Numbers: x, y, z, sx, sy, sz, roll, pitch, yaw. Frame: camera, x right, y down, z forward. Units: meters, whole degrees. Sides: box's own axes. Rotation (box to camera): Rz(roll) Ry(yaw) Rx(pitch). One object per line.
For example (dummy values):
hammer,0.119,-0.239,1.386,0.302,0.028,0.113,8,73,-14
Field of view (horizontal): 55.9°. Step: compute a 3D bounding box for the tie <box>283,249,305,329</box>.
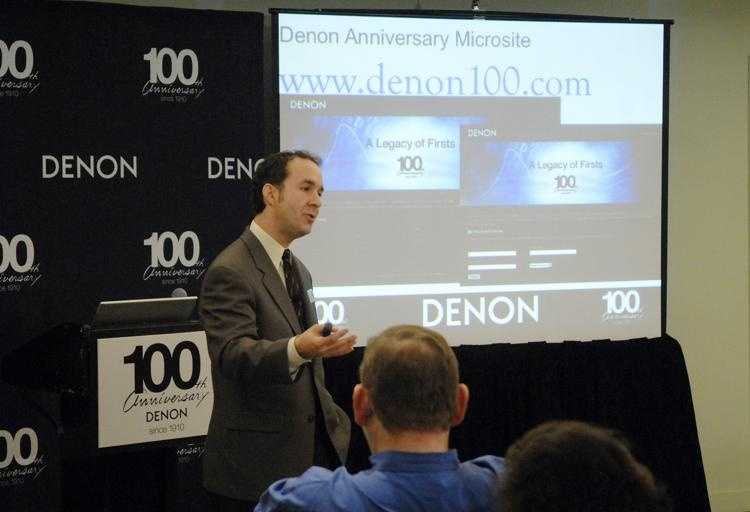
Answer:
tie,-0.433,0.131,3.573,0.075,0.483,0.118,-24,-41,8
